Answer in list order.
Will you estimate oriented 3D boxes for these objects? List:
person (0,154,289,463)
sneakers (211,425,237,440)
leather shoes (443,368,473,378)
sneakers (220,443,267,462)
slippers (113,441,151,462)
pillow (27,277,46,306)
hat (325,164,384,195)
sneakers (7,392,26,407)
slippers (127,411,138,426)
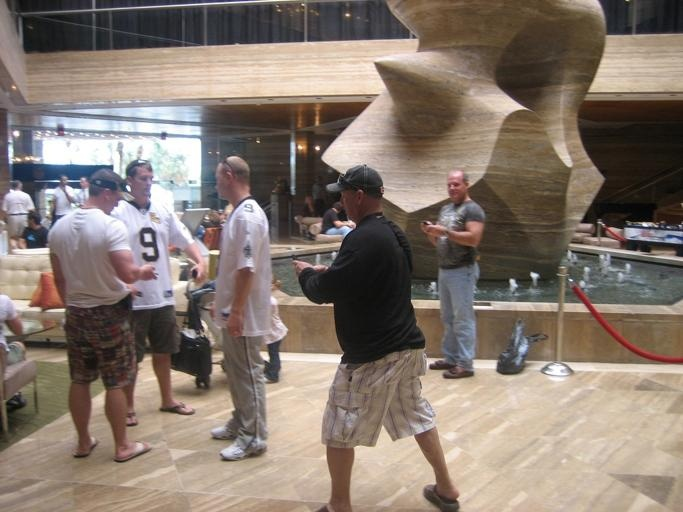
[{"bbox_3d":[-1.424,0.326,3.610,0.967,1.899,1.045,-6,16,-12],"label":"person"},{"bbox_3d":[-0.825,1.243,3.662,0.220,0.067,0.071,3,7,-3],"label":"sneakers"},{"bbox_3d":[1.031,1.022,4.585,0.238,0.058,0.101,2,-3,-6],"label":"leather shoes"},{"bbox_3d":[-0.650,1.282,3.438,0.306,0.088,0.103,2,1,-16],"label":"sneakers"},{"bbox_3d":[-1.359,1.282,3.410,0.101,0.052,0.179,6,9,39],"label":"slippers"},{"bbox_3d":[-3.429,0.406,5.875,0.128,0.279,0.373,11,-14,-23],"label":"pillow"},{"bbox_3d":[0.075,-0.416,2.806,0.343,0.118,0.175,0,20,-2],"label":"hat"},{"bbox_3d":[-2.550,1.140,4.099,0.096,0.058,0.145,28,-2,-29],"label":"sneakers"},{"bbox_3d":[-1.533,1.205,3.841,0.066,0.053,0.164,2,-9,-19],"label":"slippers"}]
